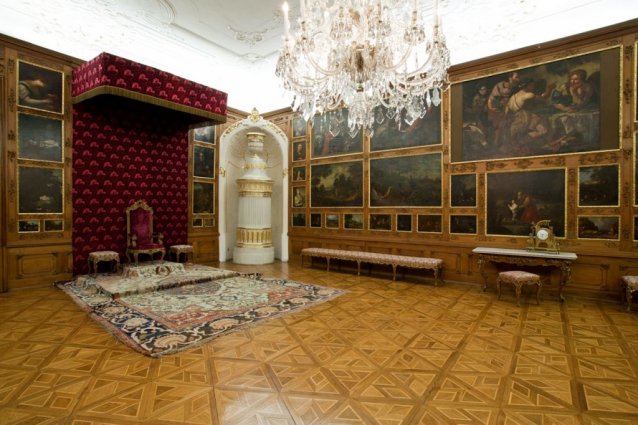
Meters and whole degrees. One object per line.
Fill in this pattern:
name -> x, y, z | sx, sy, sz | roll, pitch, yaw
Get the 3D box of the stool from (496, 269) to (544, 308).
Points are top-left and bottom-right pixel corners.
stool -> 4.821, 1.774, 9.430 | 0.965, 0.740, 0.922 | 2, -5, -32

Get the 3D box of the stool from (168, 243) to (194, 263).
stool -> -4.408, 1.323, 12.416 | 0.688, 0.538, 0.657 | 0, 3, -17

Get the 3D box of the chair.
chair -> -5.189, 0.570, 11.520 | 0.991, 1.841, 1.118 | -3, 9, -29

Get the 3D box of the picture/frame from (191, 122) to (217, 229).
picture/frame -> -3.991, -1.201, 13.388 | 0.443, 3.517, 1.227 | 8, 11, 40

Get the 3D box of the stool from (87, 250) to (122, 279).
stool -> -6.003, 1.442, 10.887 | 0.704, 0.605, 0.776 | -2, -3, 43
